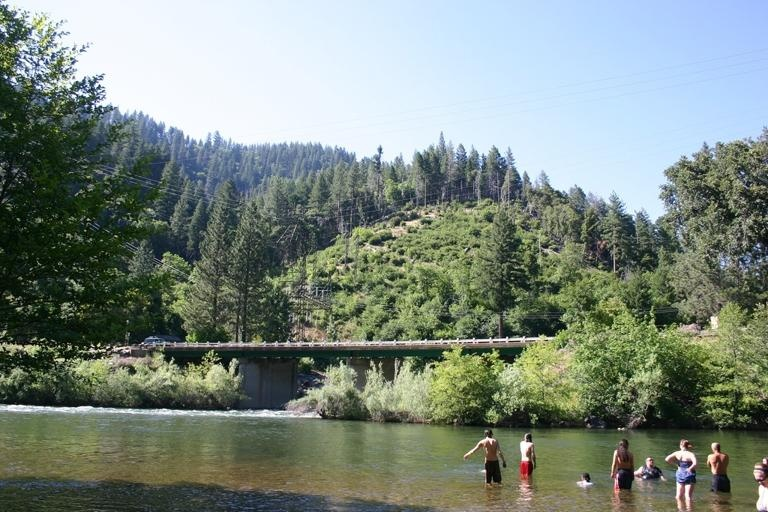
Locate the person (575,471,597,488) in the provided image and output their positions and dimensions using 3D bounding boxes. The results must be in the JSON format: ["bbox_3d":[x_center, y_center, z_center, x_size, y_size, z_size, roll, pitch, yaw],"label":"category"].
[{"bbox_3d":[12.297,13.512,42.846,1.008,0.352,0.733,5,-8,-41],"label":"person"}]
